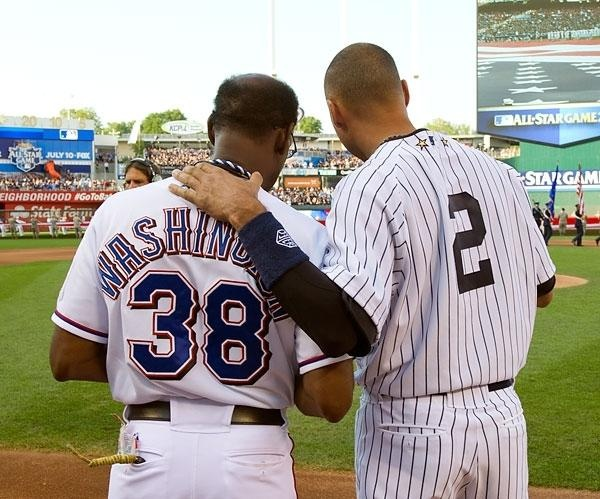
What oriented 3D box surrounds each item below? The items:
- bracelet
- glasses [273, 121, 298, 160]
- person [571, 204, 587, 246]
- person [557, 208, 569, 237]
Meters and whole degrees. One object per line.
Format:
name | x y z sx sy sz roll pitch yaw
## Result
bracelet | -0.096 -0.001 2.398 0.229 0.264 0.130 3 8 42
glasses | -0.052 -0.436 2.691 0.034 0.122 0.105 -14 18 -41
person | 9.479 -0.834 22.809 0.343 1.342 3.001 1 6 22
person | 10.383 -1.087 26.435 0.258 1.023 1.105 0 6 20
